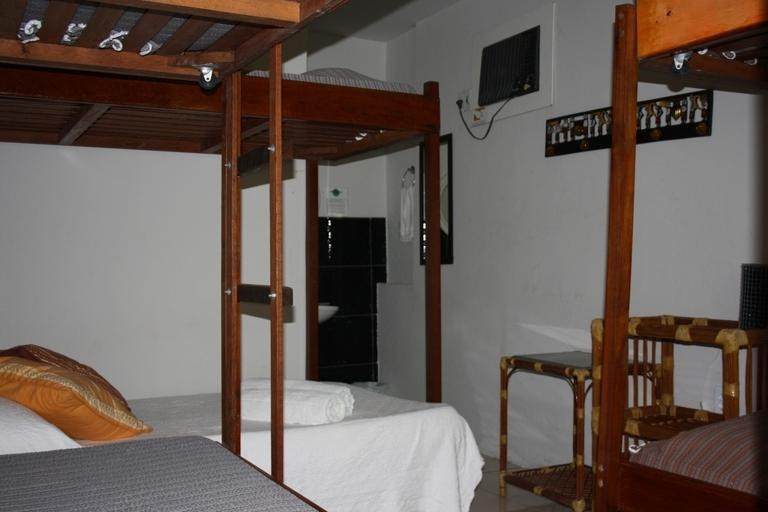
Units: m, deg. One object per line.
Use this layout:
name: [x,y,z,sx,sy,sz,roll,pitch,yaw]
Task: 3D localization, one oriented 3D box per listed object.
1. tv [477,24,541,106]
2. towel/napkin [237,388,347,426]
tv: [0.981,-1.472,4.477,0.071,0.603,0.704,8,-11,-33]
towel/napkin: [-0.426,0.773,3.002,0.307,0.096,0.309,3,-2,-35]
